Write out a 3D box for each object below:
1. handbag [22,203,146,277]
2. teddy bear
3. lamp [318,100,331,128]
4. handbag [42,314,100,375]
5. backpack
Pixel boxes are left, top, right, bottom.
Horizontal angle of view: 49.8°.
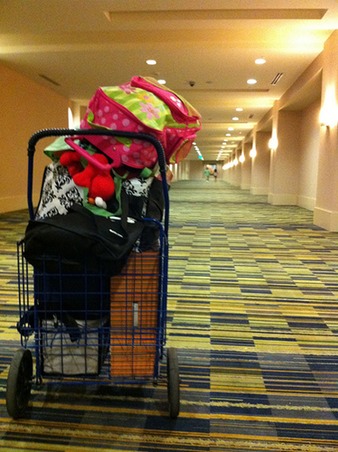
[{"bbox_3d":[-0.233,0.030,0.991,0.243,0.095,0.229,9,29,9],"label":"handbag"},{"bbox_3d":[-0.263,-0.128,1.129,0.077,0.174,0.182,-36,-3,35],"label":"teddy bear"},{"bbox_3d":[2.374,-1.689,5.528,0.073,0.275,0.207,4,2,-26],"label":"lamp"},{"bbox_3d":[-0.286,0.344,1.077,0.215,0.183,0.117,0,-5,0],"label":"handbag"},{"bbox_3d":[-0.100,-0.278,1.203,0.337,0.224,0.333,-13,52,-40],"label":"backpack"}]
